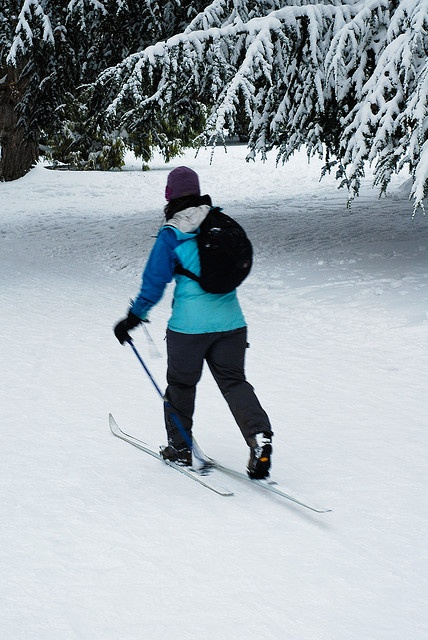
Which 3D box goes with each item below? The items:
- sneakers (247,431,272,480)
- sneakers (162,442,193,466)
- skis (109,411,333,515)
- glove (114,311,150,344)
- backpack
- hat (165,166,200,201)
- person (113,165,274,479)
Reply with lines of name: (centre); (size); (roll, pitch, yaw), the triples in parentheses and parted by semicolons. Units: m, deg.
sneakers: (0.221, 0.645, 3.011); (0.131, 0.228, 0.083); (7, 18, 14)
sneakers: (-0.204, 0.687, 3.269); (0.069, 0.094, 0.205); (-6, 16, -39)
skis: (0.029, 0.748, 3.186); (0.165, 0.132, 1.640); (-4, 12, -35)
glove: (-0.418, 0.013, 3.051); (0.129, 0.181, 0.070); (46, 15, -45)
backpack: (-0.034, -0.346, 3.031); (0.462, 0.420, 0.414); (-7, -1, -2)
hat: (-0.149, -0.653, 2.986); (0.189, 0.155, 0.146); (0, 1, 1)
person: (-0.074, 0.025, 3.011); (0.781, 1.502, 0.356); (4, 12, 6)
